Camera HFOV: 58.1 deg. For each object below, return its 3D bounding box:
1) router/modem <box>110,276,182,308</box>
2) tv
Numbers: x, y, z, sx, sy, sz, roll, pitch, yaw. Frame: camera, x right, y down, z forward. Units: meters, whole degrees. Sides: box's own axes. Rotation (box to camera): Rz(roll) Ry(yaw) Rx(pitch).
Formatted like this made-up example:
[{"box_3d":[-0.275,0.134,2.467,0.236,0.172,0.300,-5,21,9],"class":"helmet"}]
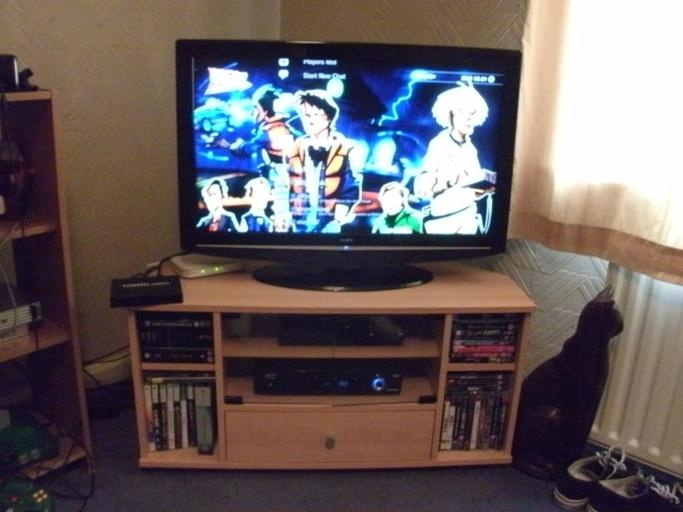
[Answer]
[{"box_3d":[-0.683,0.128,2.151,0.234,0.076,0.193,-4,15,-17],"class":"router/modem"},{"box_3d":[0.010,-0.345,2.224,0.929,0.646,0.266,1,15,-3],"class":"tv"}]
